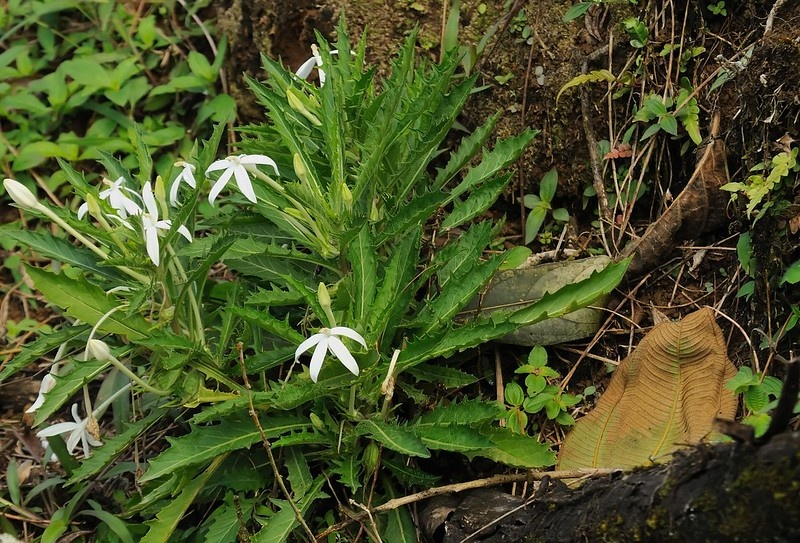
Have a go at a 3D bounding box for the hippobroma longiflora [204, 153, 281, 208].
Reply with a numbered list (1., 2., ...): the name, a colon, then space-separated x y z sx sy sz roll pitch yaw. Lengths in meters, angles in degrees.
1. hippobroma longiflora: -0.737 -0.397 3.307 0.290 0.144 0.273 22 61 35
